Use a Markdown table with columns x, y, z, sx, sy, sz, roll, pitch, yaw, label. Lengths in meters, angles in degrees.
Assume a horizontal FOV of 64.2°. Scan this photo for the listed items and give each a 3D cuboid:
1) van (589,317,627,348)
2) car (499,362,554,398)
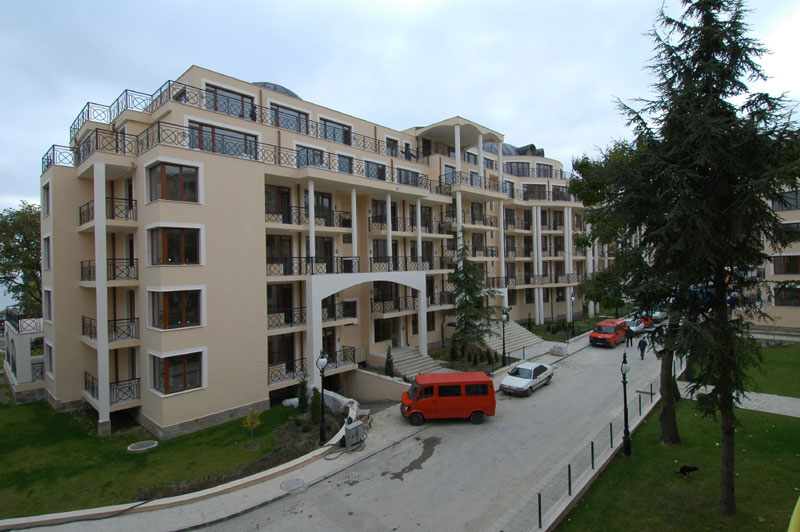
| x | y | z | sx | sy | sz | roll | pitch | yaw | label |
| --- | --- | --- | --- | --- | --- | --- | --- | --- | --- |
| 16.059 | 5.176 | 48.664 | 3.112 | 1.997 | 1.933 | -1 | -5 | -38 | van |
| 7.568 | 6.863 | 38.513 | 3.178 | 1.774 | 1.725 | -1 | -5 | -38 | car |
